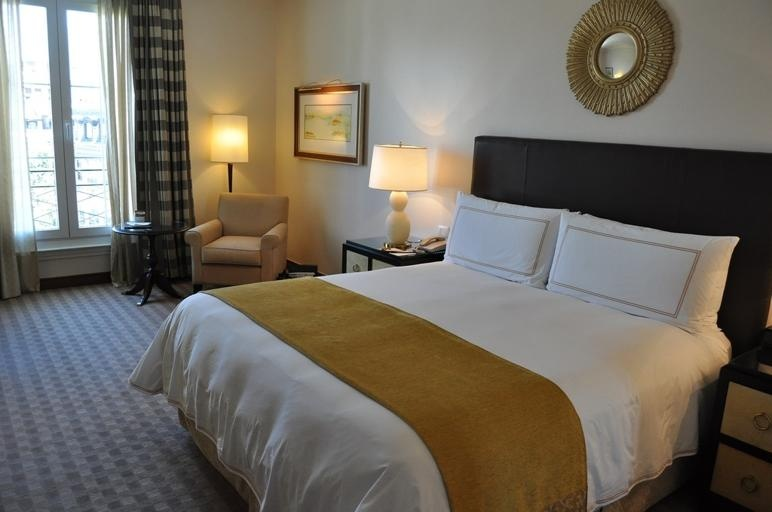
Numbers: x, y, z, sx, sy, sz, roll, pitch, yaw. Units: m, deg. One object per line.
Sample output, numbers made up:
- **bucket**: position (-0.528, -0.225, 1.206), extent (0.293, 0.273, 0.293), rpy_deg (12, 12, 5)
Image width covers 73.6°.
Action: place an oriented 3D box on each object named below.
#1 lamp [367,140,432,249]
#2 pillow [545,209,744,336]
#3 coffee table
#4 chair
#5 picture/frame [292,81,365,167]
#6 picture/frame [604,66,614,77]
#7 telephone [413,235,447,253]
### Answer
- **lamp**: position (0.233, -0.669, 5.159), extent (0.753, 1.414, 0.791), rpy_deg (3, 14, 6)
- **pillow**: position (1.708, 0.126, 3.306), extent (0.693, 0.418, 0.205), rpy_deg (15, -9, 39)
- **coffee table**: position (-2.574, 0.046, 5.673), extent (0.669, 0.737, 0.676), rpy_deg (1, -3, -36)
- **chair**: position (-1.594, -0.149, 5.749), extent (1.136, 1.065, 1.261), rpy_deg (7, 11, 25)
- **picture/frame**: position (-0.669, -1.508, 5.835), extent (1.051, 0.822, 0.050), rpy_deg (13, 16, 36)
- **picture/frame**: position (1.631, -1.350, 3.758), extent (0.009, 0.093, 0.073), rpy_deg (-12, 20, -40)
- **telephone**: position (0.416, -0.103, 4.582), extent (0.210, 0.075, 0.155), rpy_deg (-11, 18, -33)
